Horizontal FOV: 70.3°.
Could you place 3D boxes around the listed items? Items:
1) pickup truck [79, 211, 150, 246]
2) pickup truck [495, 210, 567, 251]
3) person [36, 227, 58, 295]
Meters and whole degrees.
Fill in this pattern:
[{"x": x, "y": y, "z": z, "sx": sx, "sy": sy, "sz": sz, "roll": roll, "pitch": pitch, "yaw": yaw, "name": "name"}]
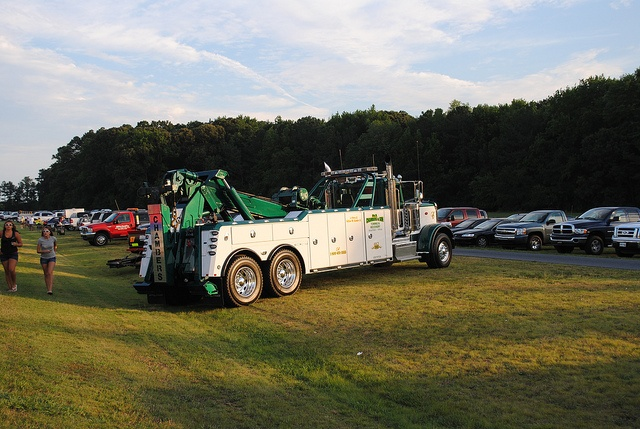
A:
[{"x": -15.025, "y": 0.760, "z": 34.728, "sx": 5.189, "sy": 2.240, "sz": 1.989, "roll": -5, "pitch": 17, "yaw": -41, "name": "pickup truck"}, {"x": 11.311, "y": 0.892, "z": 24.202, "sx": 4.684, "sy": 2.068, "sz": 2.220, "roll": -2, "pitch": 1, "yaw": -29, "name": "pickup truck"}, {"x": -8.436, "y": 1.356, "z": 14.046, "sx": 0.635, "sy": 2.143, "sz": 0.720, "roll": -1, "pitch": -2, "yaw": 4, "name": "person"}]
